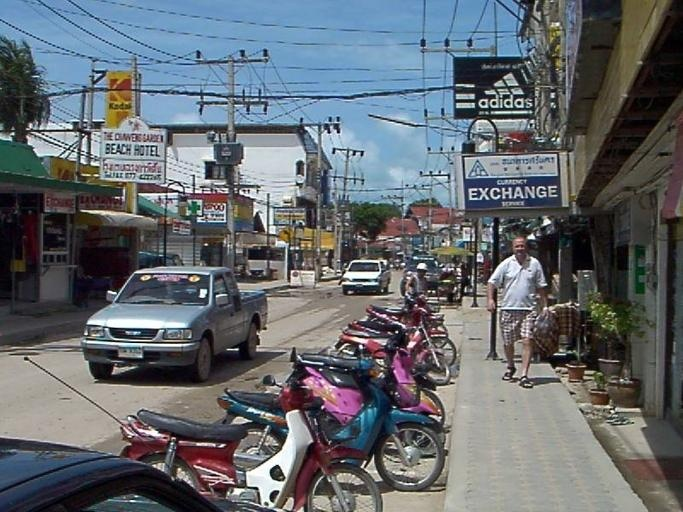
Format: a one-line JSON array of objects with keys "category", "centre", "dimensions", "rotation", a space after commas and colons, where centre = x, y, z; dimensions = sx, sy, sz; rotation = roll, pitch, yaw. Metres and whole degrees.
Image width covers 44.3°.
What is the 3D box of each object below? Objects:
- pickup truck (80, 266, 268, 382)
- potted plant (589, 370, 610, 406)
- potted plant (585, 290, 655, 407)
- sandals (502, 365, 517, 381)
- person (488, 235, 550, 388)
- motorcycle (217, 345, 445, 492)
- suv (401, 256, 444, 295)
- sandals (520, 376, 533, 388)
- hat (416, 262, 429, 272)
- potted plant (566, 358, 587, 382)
[{"category": "pickup truck", "centre": [-2.580, 0.954, 13.898], "dimensions": [1.603, 1.033, 2.914], "rotation": [-1, -2, 10]}, {"category": "potted plant", "centre": [3.501, 1.749, 11.173], "dimensions": [0.329, 0.410, 0.330], "rotation": [-5, 2, 9]}, {"category": "potted plant", "centre": [3.800, 1.216, 11.216], "dimensions": [1.040, 1.464, 0.756], "rotation": [7, -5, 11]}, {"category": "sandals", "centre": [2.394, 1.643, 11.764], "dimensions": [0.234, 0.215, 0.656], "rotation": [0, -2, 14]}, {"category": "person", "centre": [2.445, 0.738, 11.538], "dimensions": [0.788, 2.025, 0.773], "rotation": [0, -1, 12]}, {"category": "motorcycle", "centre": [0.133, 1.631, 8.586], "dimensions": [2.628, 1.399, 1.244], "rotation": [0, 3, -4]}, {"category": "suv", "centre": [3.461, 0.635, 34.432], "dimensions": [1.302, 1.144, 2.859], "rotation": [1, 5, 7]}, {"category": "sandals", "centre": [2.519, 1.676, 11.254], "dimensions": [0.187, 0.150, 0.285], "rotation": [0, -1, 11]}, {"category": "hat", "centre": [1.614, 0.185, 16.663], "dimensions": [0.243, 0.150, 0.311], "rotation": [1, -4, 7]}, {"category": "potted plant", "centre": [3.657, 1.767, 12.915], "dimensions": [0.272, 0.291, 0.394], "rotation": [0, -1, 14]}]
